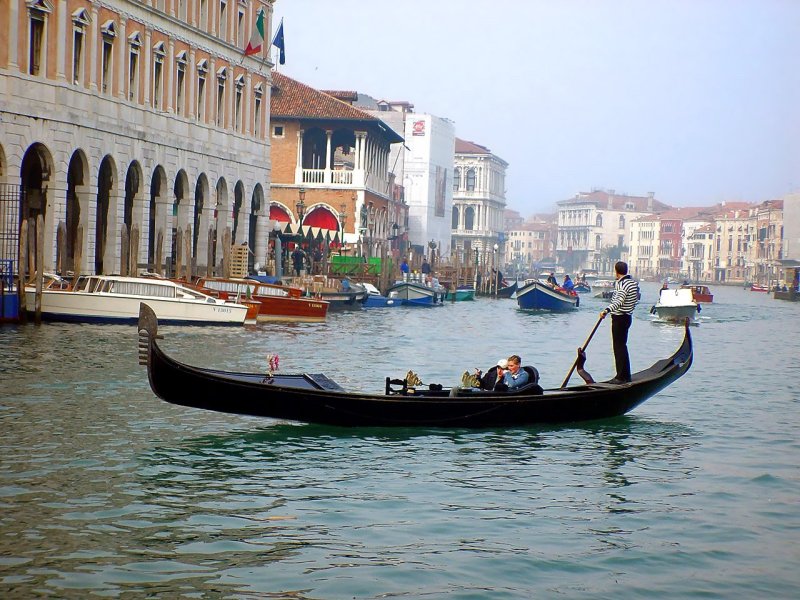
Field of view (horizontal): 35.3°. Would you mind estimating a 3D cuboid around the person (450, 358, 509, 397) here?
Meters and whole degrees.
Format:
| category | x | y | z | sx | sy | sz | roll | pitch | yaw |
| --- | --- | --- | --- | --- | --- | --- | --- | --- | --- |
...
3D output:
| category | x | y | z | sx | sy | sz | roll | pitch | yaw |
| --- | --- | --- | --- | --- | --- | --- | --- | --- | --- |
| person | 1.262 | 1.207 | 20.020 | 0.929 | 0.370 | 0.444 | -12 | 3 | -28 |
